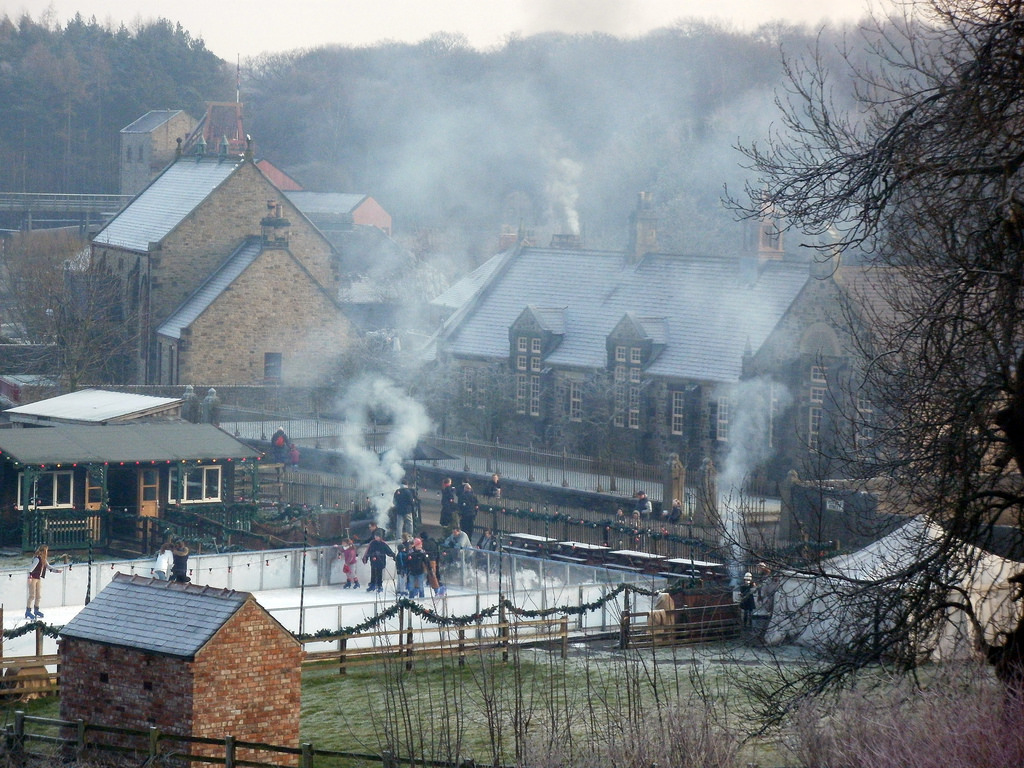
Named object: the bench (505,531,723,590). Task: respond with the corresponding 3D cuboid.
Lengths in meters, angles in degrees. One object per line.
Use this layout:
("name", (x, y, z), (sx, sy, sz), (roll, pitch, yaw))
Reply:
("bench", (3.455, 5.638, 77.820), (8.356, 2.229, 1.302), (-10, -14, 40))

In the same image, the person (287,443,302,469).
("person", (-8.741, 2.886, 94.871), (0.475, 0.971, 1.937), (1, -11, -7))

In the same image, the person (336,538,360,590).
("person", (-5.430, 6.032, 80.010), (0.625, 1.678, 1.326), (1, -10, -4))

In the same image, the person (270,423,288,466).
("person", (-9.302, 2.441, 95.329), (0.749, 1.655, 2.282), (1, -11, -7))
